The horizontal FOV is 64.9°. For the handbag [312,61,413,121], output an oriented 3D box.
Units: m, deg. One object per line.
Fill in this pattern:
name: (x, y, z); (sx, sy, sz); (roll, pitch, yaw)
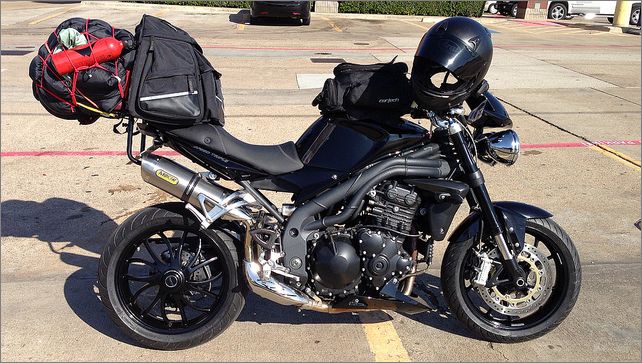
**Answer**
handbag: (0.478, -0.933, 5.210); (0.878, 0.383, 0.606); (3, 56, 3)
